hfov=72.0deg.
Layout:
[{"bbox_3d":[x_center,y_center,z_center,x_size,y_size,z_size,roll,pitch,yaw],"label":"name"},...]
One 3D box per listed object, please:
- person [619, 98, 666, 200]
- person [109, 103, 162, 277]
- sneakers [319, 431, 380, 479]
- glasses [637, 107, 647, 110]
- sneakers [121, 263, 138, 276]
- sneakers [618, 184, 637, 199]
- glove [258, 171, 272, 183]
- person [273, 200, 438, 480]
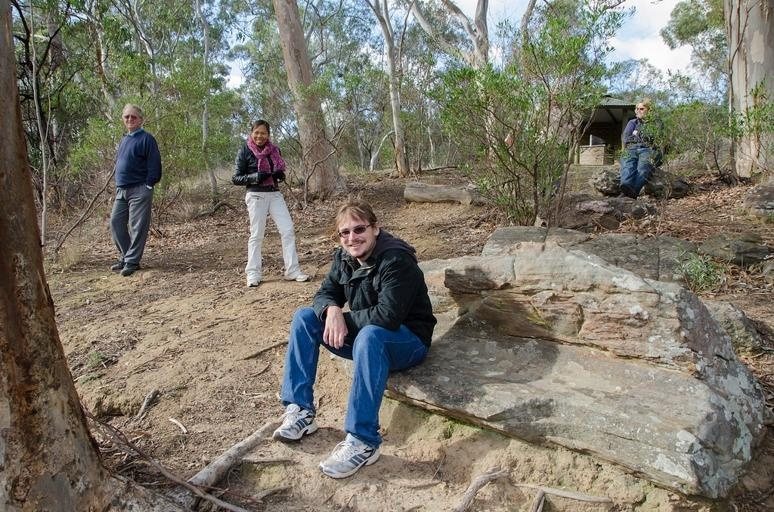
[{"bbox_3d":[4.486,-1.867,9.354,0.652,1.662,1.483,2,12,24],"label":"person"},{"bbox_3d":[-3.880,-0.989,8.145,0.925,2.538,0.401,1,12,17],"label":"person"},{"bbox_3d":[-0.296,1.556,4.265,0.574,0.303,0.208,-3,6,-39],"label":"sneakers"},{"bbox_3d":[4.283,-2.460,8.919,0.141,0.079,0.081,6,15,40],"label":"glasses"},{"bbox_3d":[-4.045,0.200,8.409,0.113,0.175,0.348,4,3,12],"label":"sneakers"},{"bbox_3d":[4.362,-1.175,9.599,0.165,0.179,0.386,-3,19,-33],"label":"sneakers"},{"bbox_3d":[-1.635,-1.049,7.018,0.140,0.146,0.038,-7,21,-30],"label":"glove"},{"bbox_3d":[-0.287,0.594,4.459,0.899,2.063,1.270,6,15,38],"label":"person"}]
